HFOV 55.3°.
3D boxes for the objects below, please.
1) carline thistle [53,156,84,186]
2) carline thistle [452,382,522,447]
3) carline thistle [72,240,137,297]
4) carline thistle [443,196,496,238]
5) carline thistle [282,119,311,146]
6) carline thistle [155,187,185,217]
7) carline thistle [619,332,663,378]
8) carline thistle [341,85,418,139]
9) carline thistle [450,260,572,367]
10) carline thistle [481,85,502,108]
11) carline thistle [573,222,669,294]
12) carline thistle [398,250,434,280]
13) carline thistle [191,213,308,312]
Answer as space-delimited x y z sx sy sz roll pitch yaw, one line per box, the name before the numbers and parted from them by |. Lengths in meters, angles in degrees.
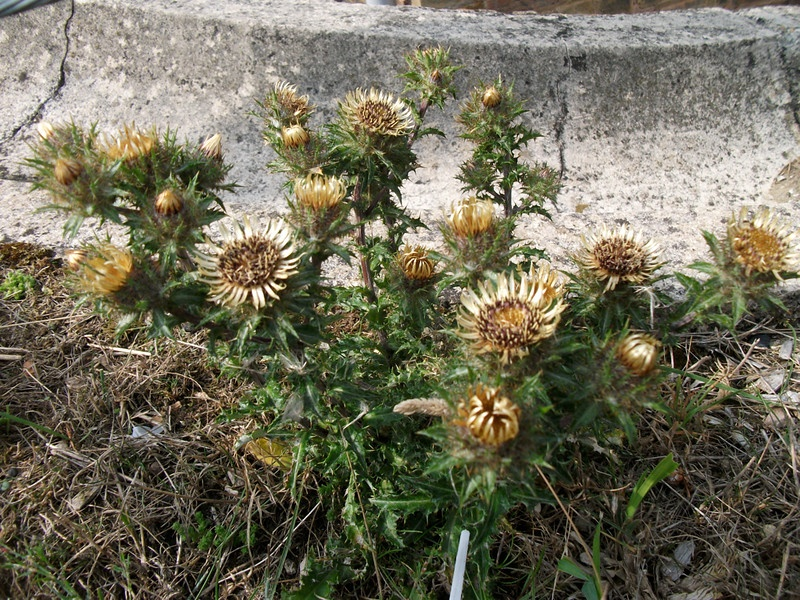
carline thistle | -1.593 -0.627 3.663 0.103 0.069 0.137 32 74 16
carline thistle | 0.403 0.515 3.421 0.297 0.110 0.267 38 76 17
carline thistle | -1.419 -0.151 3.682 0.296 0.302 0.184 -32 77 34
carline thistle | 0.358 -0.429 3.923 0.195 0.202 0.227 -8 25 28
carline thistle | -0.569 -0.900 4.170 0.142 0.081 0.128 -21 68 -3
carline thistle | -1.144 -0.481 3.791 0.117 0.134 0.086 -18 21 -25
carline thistle | 1.119 0.241 3.589 0.154 0.205 0.212 -1 103 8
carline thistle | -0.174 -1.072 4.257 0.355 0.377 0.189 -2 95 -34
carline thistle | 0.534 0.119 3.729 0.524 0.268 0.518 -34 37 -32
carline thistle | 0.507 -1.133 4.242 0.089 0.089 0.116 0 87 11
carline thistle | 1.172 -0.219 4.118 0.462 0.319 0.357 -19 67 -3
carline thistle | 0.093 -0.190 4.101 0.149 0.148 0.162 19 28 2
carline thistle | -0.710 -0.157 3.693 0.510 0.199 0.443 -35 70 -9
